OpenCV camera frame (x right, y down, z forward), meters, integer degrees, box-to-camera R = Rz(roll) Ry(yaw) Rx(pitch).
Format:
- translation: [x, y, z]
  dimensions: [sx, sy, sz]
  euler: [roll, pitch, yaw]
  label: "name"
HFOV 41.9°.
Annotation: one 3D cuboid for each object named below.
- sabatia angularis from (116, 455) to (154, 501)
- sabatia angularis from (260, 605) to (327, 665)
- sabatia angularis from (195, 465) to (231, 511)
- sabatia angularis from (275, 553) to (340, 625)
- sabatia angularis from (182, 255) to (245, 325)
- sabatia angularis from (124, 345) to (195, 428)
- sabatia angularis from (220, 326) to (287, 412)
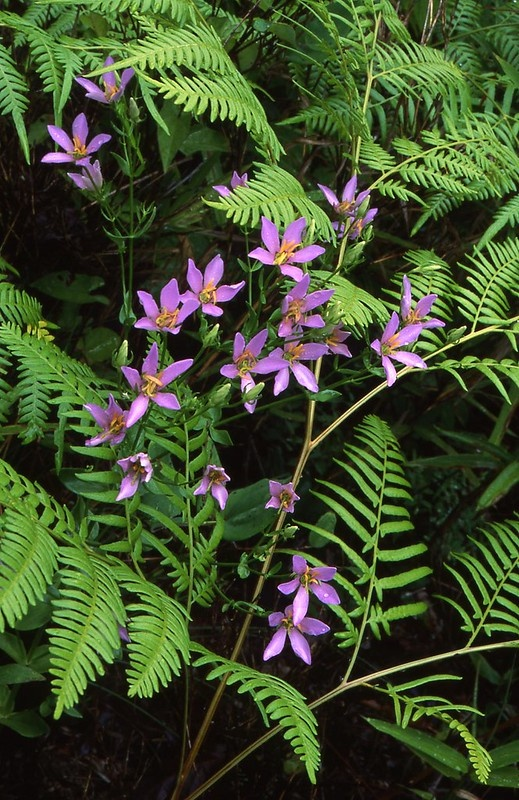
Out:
- translation: [-0.213, 0.126, 1.136]
  dimensions: [0.056, 0.078, 0.066]
  euler: [11, 34, -10]
  label: "sabatia angularis"
- translation: [0.059, 0.432, 1.271]
  dimensions: [0.127, 0.059, 0.149]
  euler: [-9, 10, -15]
  label: "sabatia angularis"
- translation: [-0.100, 0.167, 1.258]
  dimensions: [0.034, 0.080, 0.081]
  euler: [13, 33, 32]
  label: "sabatia angularis"
- translation: [0.085, 0.322, 1.238]
  dimensions: [0.102, 0.037, 0.116]
  euler: [7, 8, -31]
  label: "sabatia angularis"
- translation: [-0.076, -0.179, 1.135]
  dimensions: [0.096, 0.093, 0.057]
  euler: [13, 29, 21]
  label: "sabatia angularis"
- translation: [-0.168, -0.028, 1.056]
  dimensions: [0.120, 0.057, 0.104]
  euler: [0, 29, -39]
  label: "sabatia angularis"
- translation: [-0.030, -0.062, 1.137]
  dimensions: [0.125, 0.112, 0.031]
  euler: [-12, 48, 28]
  label: "sabatia angularis"
